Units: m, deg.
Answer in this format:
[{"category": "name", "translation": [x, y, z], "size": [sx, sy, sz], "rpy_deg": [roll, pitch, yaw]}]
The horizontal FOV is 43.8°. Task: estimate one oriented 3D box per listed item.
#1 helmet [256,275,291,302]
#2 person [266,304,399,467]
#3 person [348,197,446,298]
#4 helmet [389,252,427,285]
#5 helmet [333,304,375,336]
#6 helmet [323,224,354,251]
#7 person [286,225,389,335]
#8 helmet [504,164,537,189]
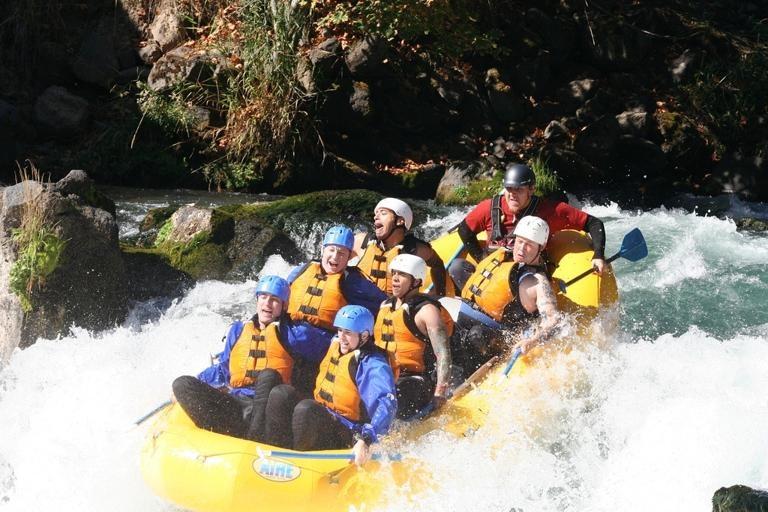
[{"category": "helmet", "translation": [-1.331, 0.367, 11.620], "size": [0.258, 0.390, 0.307], "rpy_deg": [12, 68, 22]}, {"category": "person", "translation": [-0.629, 1.591, 11.285], "size": [1.286, 0.728, 1.330], "rpy_deg": [27, 93, 51]}, {"category": "person", "translation": [0.104, -0.108, 13.197], "size": [1.176, 1.775, 0.606], "rpy_deg": [10, 24, 33]}, {"category": "helmet", "translation": [0.301, 0.106, 11.681], "size": [0.317, 0.438, 0.302], "rpy_deg": [-33, 24, -30]}, {"category": "helmet", "translation": [-0.361, 0.734, 11.298], "size": [0.295, 0.272, 0.418], "rpy_deg": [18, 19, 29]}, {"category": "helmet", "translation": [-0.596, -0.227, 12.204], "size": [0.257, 0.365, 0.331], "rpy_deg": [20, 79, -4]}, {"category": "person", "translation": [-0.593, 0.337, 12.244], "size": [1.019, 0.627, 1.508], "rpy_deg": [11, 60, 27]}, {"category": "helmet", "translation": [1.812, -1.107, 12.868], "size": [0.284, 0.290, 0.361], "rpy_deg": [26, 48, 38]}]
